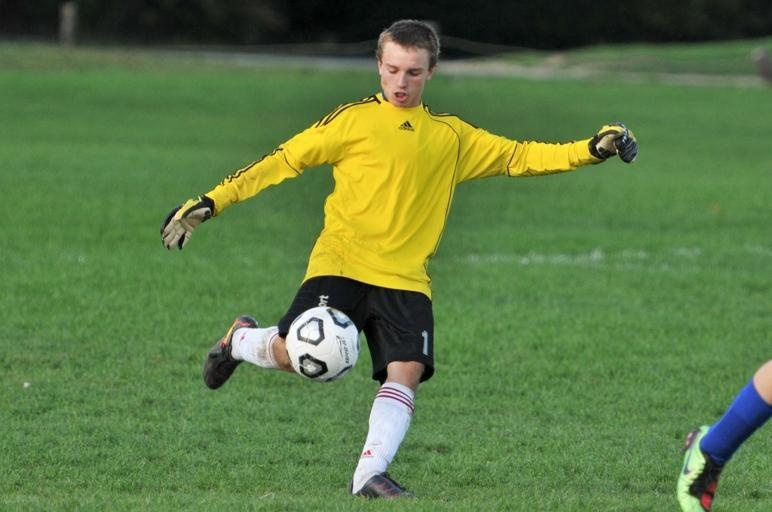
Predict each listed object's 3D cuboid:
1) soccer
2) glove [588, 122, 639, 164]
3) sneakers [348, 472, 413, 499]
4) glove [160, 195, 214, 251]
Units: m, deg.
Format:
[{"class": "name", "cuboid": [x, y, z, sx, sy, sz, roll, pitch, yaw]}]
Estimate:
[{"class": "soccer", "cuboid": [-0.477, 0.652, 8.822, 0.582, 0.656, 0.600, -1, 22, -7]}, {"class": "glove", "cuboid": [1.647, -0.845, 9.015, 0.410, 0.203, 0.288, -23, 11, -2]}, {"class": "sneakers", "cuboid": [-0.024, 1.625, 8.345, 0.320, 0.138, 0.168, -2, -1, 12]}, {"class": "glove", "cuboid": [-1.469, -0.201, 8.830, 0.426, 0.127, 0.331, -34, 34, -6]}]
